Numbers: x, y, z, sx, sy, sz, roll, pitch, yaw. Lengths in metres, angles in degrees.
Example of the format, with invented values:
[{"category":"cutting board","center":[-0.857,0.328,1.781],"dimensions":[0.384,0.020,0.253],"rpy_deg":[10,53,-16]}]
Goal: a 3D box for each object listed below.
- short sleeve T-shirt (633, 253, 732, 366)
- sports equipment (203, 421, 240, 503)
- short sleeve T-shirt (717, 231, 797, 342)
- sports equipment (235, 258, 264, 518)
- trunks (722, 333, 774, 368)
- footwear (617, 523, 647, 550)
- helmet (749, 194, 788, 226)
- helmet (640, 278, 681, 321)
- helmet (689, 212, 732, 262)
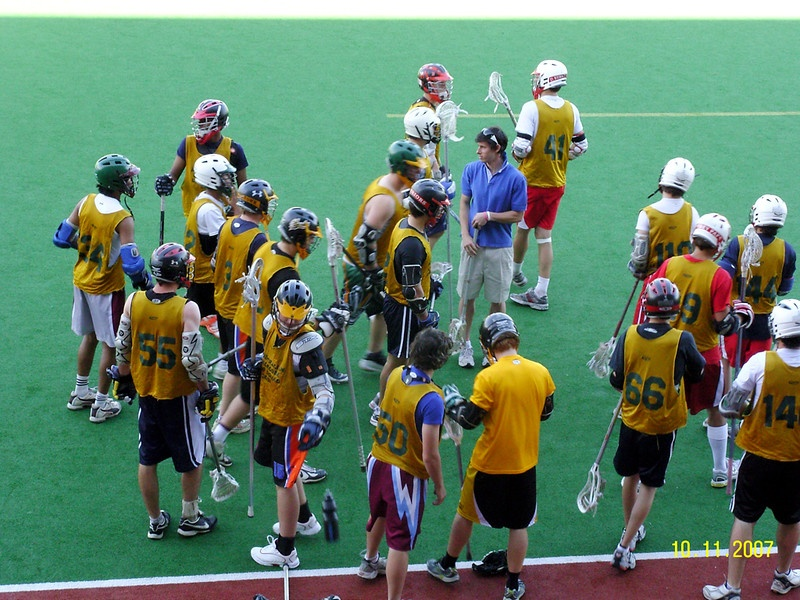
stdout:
[{"category":"short sleeve T-shirt","center":[2.670,0.118,8.639],"dimensions":[0.858,0.946,0.525],"rpy_deg":[15,27,35]},{"category":"sports equipment","center":[-1.718,1.529,9.019],"dimensions":[0.314,0.833,0.544],"rpy_deg":[0,9,-12]},{"category":"short sleeve T-shirt","center":[3.498,-0.123,9.136],"dimensions":[0.837,1.467,0.497],"rpy_deg":[8,42,22]},{"category":"sports equipment","center":[-1.399,0.830,8.823],"dimensions":[0.182,2.454,0.804],"rpy_deg":[1,9,-9]},{"category":"trunks","center":[3.598,0.473,9.741],"dimensions":[0.573,0.552,0.333],"rpy_deg":[2,2,13]},{"category":"footwear","center":[2.202,2.176,8.775],"dimensions":[0.139,0.189,0.422],"rpy_deg":[7,32,31]},{"category":"helmet","center":[3.701,-0.887,9.415],"dimensions":[0.291,0.335,0.352],"rpy_deg":[10,12,8]},{"category":"helmet","center":[2.258,-0.001,8.065],"dimensions":[0.274,0.314,0.359],"rpy_deg":[5,45,10]},{"category":"helmet","center":[2.995,-0.648,9.012],"dimensions":[0.330,0.416,0.438],"rpy_deg":[17,-11,25]}]
